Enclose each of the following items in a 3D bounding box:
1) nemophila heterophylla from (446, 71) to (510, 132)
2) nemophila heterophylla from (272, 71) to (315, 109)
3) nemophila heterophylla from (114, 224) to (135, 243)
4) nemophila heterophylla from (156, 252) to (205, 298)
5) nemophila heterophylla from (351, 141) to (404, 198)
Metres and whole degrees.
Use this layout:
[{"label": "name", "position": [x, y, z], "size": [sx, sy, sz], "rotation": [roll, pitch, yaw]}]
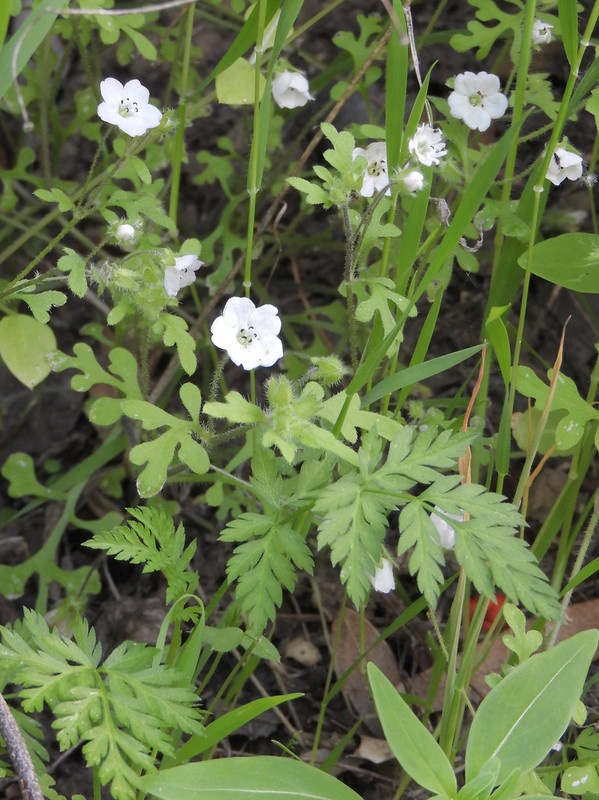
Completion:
[{"label": "nemophila heterophylla", "position": [0.432, -0.724, 1.754], "size": [0.151, 0.051, 0.145], "rotation": [28, 89, -5]}, {"label": "nemophila heterophylla", "position": [-0.023, -0.752, 1.721], "size": [0.091, 0.063, 0.101], "rotation": [8, 53, -1]}, {"label": "nemophila heterophylla", "position": [-0.392, -0.365, 1.563], "size": [0.042, 0.050, 0.028], "rotation": [6, 109, 2]}, {"label": "nemophila heterophylla", "position": [-0.276, -0.270, 1.529], "size": [0.049, 0.095, 0.095], "rotation": [39, 110, 20]}, {"label": "nemophila heterophylla", "position": [0.175, -0.533, 1.629], "size": [0.144, 0.079, 0.161], "rotation": [-4, 96, -23]}]
